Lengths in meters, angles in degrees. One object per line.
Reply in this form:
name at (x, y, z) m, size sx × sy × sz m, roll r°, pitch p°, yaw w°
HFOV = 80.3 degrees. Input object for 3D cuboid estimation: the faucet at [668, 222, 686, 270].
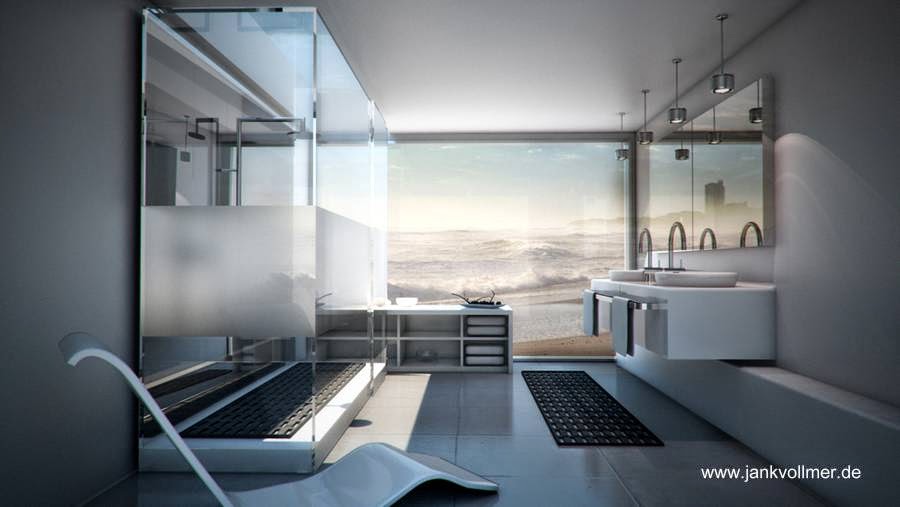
faucet at (2.736, -0.086, 6.394) m, size 0.138 × 0.593 × 0.303 m, roll -1°, pitch 2°, yaw -17°
